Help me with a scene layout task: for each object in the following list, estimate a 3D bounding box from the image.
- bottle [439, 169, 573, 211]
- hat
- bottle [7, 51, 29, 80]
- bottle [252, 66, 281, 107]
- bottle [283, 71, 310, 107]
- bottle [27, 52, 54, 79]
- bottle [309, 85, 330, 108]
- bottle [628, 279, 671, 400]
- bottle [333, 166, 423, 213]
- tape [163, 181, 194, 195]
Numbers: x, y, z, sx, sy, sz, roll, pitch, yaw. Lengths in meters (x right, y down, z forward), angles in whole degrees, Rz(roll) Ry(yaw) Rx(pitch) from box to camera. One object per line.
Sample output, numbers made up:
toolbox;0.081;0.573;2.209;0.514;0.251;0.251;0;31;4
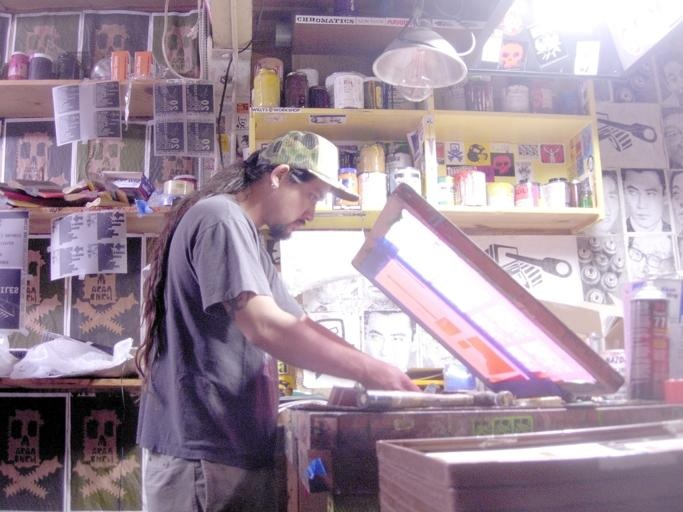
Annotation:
bottle;0.826;-0.313;3.273;0.588;0.180;0.165;1;-1;-10
hat;-0.122;-0.335;2.578;0.340;0.180;0.253;7;-8;-3
bottle;-1.532;-0.886;3.205;0.105;0.146;0.099;1;-1;0
bottle;-0.352;-0.782;3.190;0.136;0.212;0.117;1;-1;-6
bottle;-0.211;-0.777;3.205;0.118;0.192;0.112;1;-1;0
bottle;-1.426;-0.890;3.284;0.117;0.136;0.120;-3;-6;11
bottle;-0.105;-0.748;3.267;0.098;0.099;0.101;2;-4;-3
bottle;1.023;0.292;2.276;0.120;0.370;0.058;0;-2;24
bottle;0.207;-0.295;3.170;0.283;0.129;0.215;0;-1;-5
tape;-0.752;-0.308;3.169;0.086;0.057;0.090;-1;0;3
